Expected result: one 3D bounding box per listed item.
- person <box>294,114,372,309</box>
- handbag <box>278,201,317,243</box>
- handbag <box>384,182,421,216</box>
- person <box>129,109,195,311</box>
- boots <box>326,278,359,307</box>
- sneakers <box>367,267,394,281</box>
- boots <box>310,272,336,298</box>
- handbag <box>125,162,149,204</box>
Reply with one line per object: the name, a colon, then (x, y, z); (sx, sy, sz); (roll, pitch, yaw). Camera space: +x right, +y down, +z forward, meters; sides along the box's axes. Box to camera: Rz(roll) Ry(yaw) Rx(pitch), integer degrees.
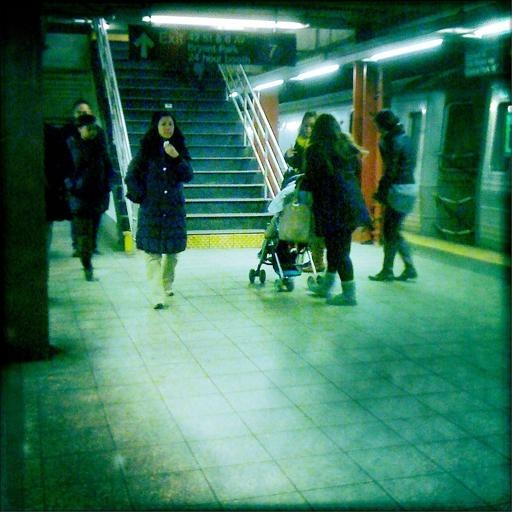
person: (0.752, -0.461, 5.705); (0.620, 1.873, 0.631); (5, 11, 31)
handbag: (0.407, -0.323, 5.516); (0.325, 0.493, 0.178); (3, 6, 15)
handbag: (1.619, -0.665, 6.467); (0.299, 0.329, 0.264); (3, 3, 23)
person: (-0.888, -0.401, 5.484); (0.522, 1.873, 0.681); (8, 11, 35)
boots: (0.890, 0.371, 5.952); (0.345, 0.320, 0.179); (2, 9, 5)
sneakers: (1.531, 0.225, 7.206); (0.317, 0.248, 0.130); (4, 8, 0)
boots: (0.705, 0.267, 6.178); (0.212, 0.296, 0.106); (-9, 45, -8)
handbag: (-1.097, -0.683, 5.317); (0.184, 0.422, 0.184); (-1, 9, -14)
